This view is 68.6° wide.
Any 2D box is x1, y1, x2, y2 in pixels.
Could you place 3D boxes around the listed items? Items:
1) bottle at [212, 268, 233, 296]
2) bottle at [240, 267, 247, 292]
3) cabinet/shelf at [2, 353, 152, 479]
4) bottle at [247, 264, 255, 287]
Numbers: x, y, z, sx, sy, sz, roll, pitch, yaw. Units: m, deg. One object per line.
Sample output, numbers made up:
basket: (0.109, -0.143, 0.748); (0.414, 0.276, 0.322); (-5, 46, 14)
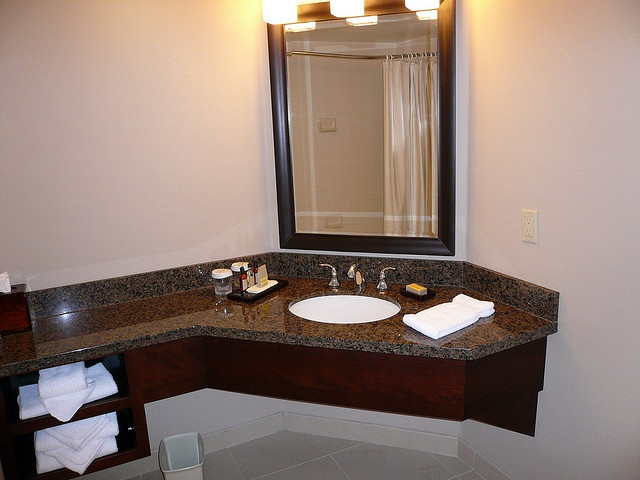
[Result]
bottle: (-0.491, 0.214, 2.356); (0.118, 0.132, 0.122); (-5, 16, -11)
bottle: (-0.382, 0.194, 2.347); (0.037, 0.117, 0.085); (-3, 14, -7)
cabinet/shelf: (-1.061, 0.738, 2.023); (0.555, 0.527, 0.314); (-8, 15, -25)
bottle: (-0.352, 0.186, 2.395); (0.036, 0.087, 0.095); (-4, 14, -9)
